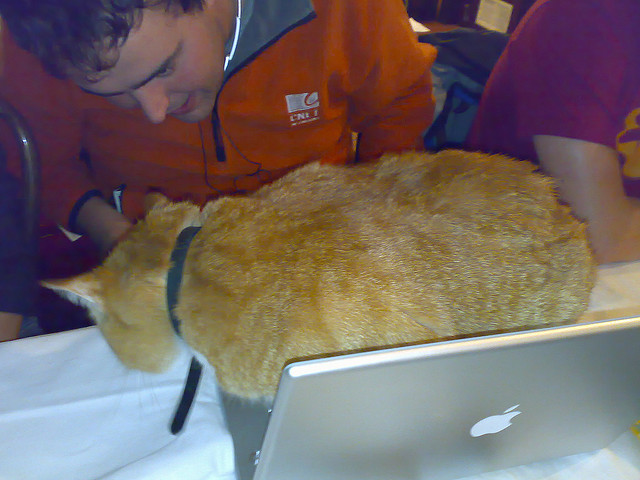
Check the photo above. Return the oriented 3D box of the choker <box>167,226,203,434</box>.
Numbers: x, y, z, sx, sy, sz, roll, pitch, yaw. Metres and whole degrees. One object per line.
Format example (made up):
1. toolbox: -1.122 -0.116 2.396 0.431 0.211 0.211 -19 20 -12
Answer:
1. choker: -0.271 0.196 0.979 0.098 0.060 0.397 5 98 -7
